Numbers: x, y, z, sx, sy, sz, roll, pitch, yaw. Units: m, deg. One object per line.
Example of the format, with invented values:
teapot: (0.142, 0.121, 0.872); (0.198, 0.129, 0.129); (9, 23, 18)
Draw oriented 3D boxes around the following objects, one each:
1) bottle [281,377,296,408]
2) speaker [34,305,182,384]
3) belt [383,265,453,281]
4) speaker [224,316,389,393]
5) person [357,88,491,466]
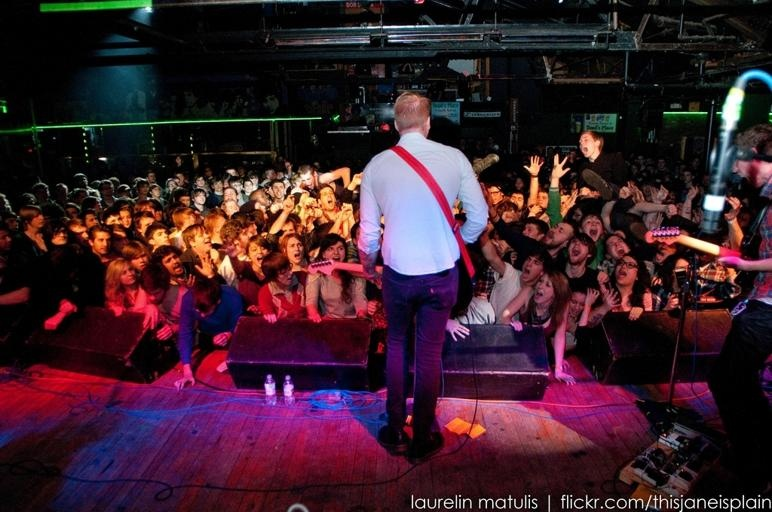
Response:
bottle: (-0.850, 1.160, 4.454); (0.107, 0.223, 0.154); (-6, 19, -11)
speaker: (-2.599, 0.844, 4.793); (1.100, 0.565, 0.727); (8, 17, 18)
belt: (0.217, 0.120, 3.649); (0.494, 0.087, 0.095); (0, 19, 8)
speaker: (-0.712, 0.826, 4.473); (1.097, 0.575, 0.666); (2, 19, 6)
person: (0.242, 0.163, 3.845); (0.752, 2.650, 0.671); (-19, 25, -40)
